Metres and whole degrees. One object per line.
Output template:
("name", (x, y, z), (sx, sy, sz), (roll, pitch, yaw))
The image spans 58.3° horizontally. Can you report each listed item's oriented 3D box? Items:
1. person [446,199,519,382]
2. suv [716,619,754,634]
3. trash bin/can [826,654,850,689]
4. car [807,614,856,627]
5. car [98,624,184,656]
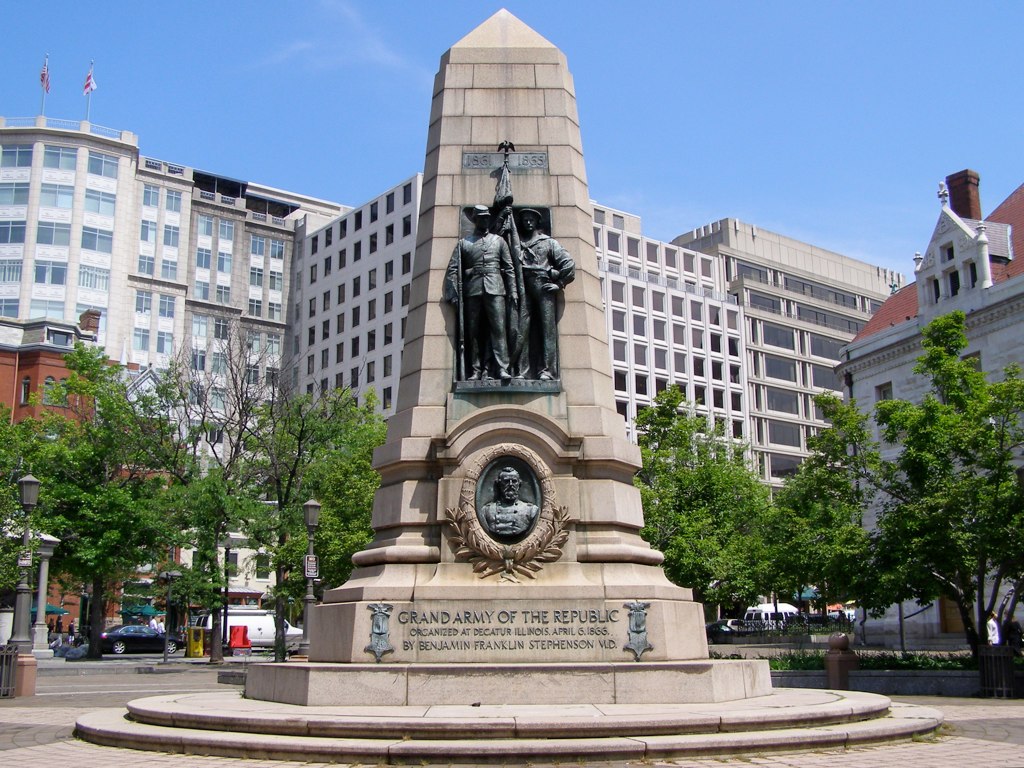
("person", (-0.480, -1.368, 16.828), (1.367, 2.818, 0.516), (-1, -17, 1))
("suv", (12.496, 13.567, 51.329), (2.123, 0.791, 1.379), (4, -17, -16))
("trash bin/can", (8.020, 7.028, 22.458), (0.561, 0.785, 0.522), (-6, -18, 17))
("car", (18.019, 13.439, 52.156), (2.222, 0.651, 5.688), (-5, -16, 12))
("car", (-20.561, 13.977, 50.136), (3.176, 1.543, 1.633), (9, -19, -30))
